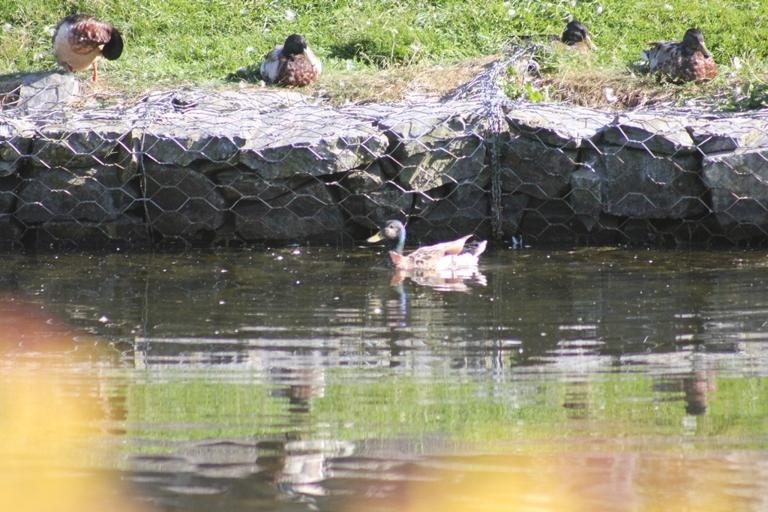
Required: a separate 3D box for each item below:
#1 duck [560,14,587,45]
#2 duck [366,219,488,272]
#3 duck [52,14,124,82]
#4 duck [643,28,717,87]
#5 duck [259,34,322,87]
[{"bbox_3d":[2.295,-2.728,19.506,0.265,0.319,0.213,0,9,16],"label":"duck"},{"bbox_3d":[0.444,-0.057,16.465,1.277,0.706,0.427,-8,-7,28],"label":"duck"},{"bbox_3d":[-3.343,-2.343,18.077,0.537,0.723,0.740,-6,-5,45],"label":"duck"},{"bbox_3d":[3.326,-2.313,18.549,0.516,0.581,0.876,-16,39,-21],"label":"duck"},{"bbox_3d":[-1.089,-2.264,18.701,0.524,0.477,0.709,-5,16,-20],"label":"duck"}]
